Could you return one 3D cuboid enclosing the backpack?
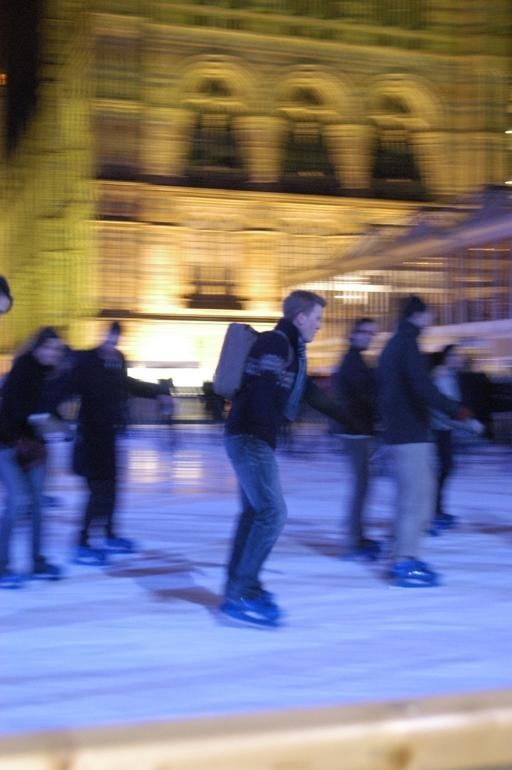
[{"bbox_3d":[-0.087,-0.102,5.118,0.182,0.354,0.243,5,11,-2],"label":"backpack"}]
